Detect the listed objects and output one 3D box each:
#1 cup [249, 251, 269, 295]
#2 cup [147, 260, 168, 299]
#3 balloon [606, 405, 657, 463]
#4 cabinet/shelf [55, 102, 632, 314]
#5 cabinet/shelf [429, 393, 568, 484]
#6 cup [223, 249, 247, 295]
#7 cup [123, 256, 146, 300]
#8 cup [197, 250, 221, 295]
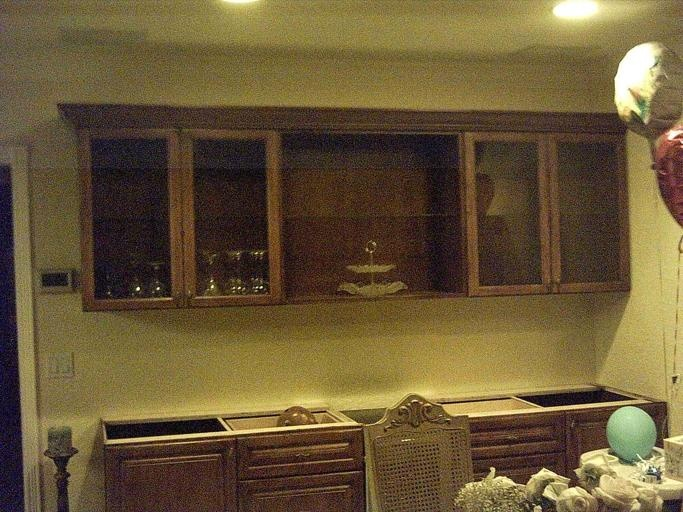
[{"bbox_3d":[-0.249,0.049,2.055,0.058,0.127,0.139,-3,-4,-6],"label":"cup"},{"bbox_3d":[-0.531,0.068,1.983,0.051,0.101,0.102,-3,-4,-15],"label":"cup"},{"bbox_3d":[0.760,0.460,1.842,0.132,0.156,0.131,-6,2,-1],"label":"balloon"},{"bbox_3d":[0.078,-0.129,2.173,1.717,0.644,0.235,-1,-10,-7],"label":"cabinet/shelf"},{"bbox_3d":[0.565,0.709,2.388,0.401,0.370,0.304,-3,-3,-5],"label":"cabinet/shelf"},{"bbox_3d":[-0.312,0.049,2.010,0.058,0.125,0.088,-3,-4,-12],"label":"cup"},{"bbox_3d":[-0.583,0.060,1.939,0.055,0.111,0.066,-2,-4,-18],"label":"cup"},{"bbox_3d":[-0.391,0.063,2.047,0.056,0.112,0.092,-3,-4,-13],"label":"cup"}]
